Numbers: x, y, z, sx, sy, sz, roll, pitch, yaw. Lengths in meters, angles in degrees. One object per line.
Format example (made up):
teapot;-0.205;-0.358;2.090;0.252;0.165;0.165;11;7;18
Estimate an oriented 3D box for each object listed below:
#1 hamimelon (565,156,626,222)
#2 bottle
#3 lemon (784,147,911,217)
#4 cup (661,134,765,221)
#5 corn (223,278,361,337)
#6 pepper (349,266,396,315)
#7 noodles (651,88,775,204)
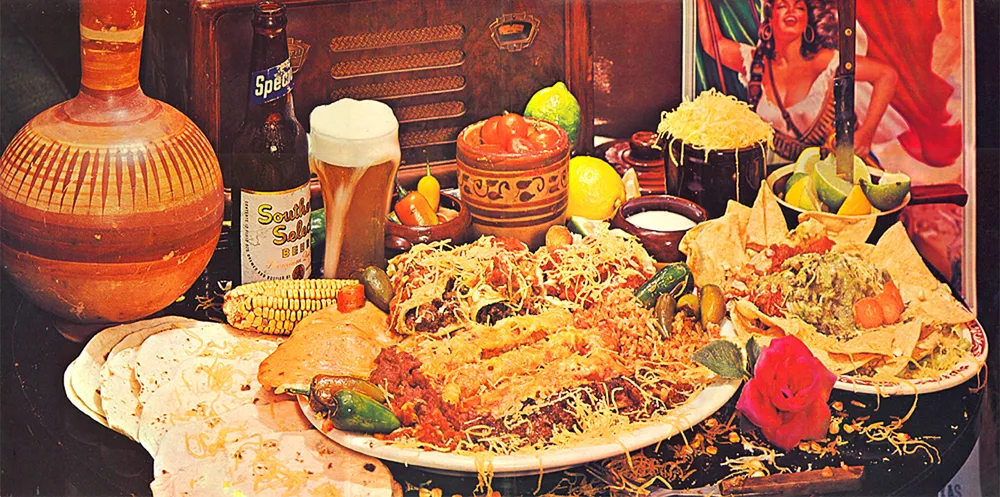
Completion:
hamimelon;0.383;-0.264;3.336;0.285;0.201;0.227;23;31;29
bottle;-0.854;-0.409;3.033;0.316;1.032;0.336;0;15;0
lemon;1.420;-0.269;3.182;0.394;0.330;0.196;15;72;-16
cup;0.867;-0.309;3.284;0.392;0.360;0.363;0;16;0
corn;-0.825;0.216;3.027;0.554;0.186;0.181;-7;17;-11
pepper;-0.475;0.152;2.994;0.113;0.086;0.186;-28;75;-40
noodles;0.882;-0.409;3.260;0.449;0.370;0.335;7;40;12
